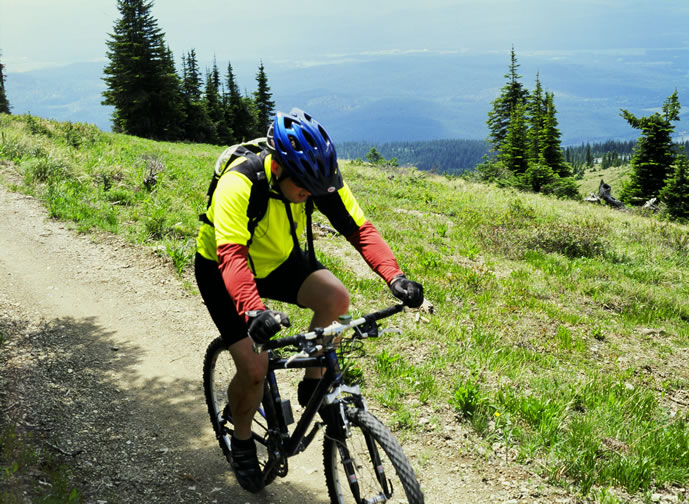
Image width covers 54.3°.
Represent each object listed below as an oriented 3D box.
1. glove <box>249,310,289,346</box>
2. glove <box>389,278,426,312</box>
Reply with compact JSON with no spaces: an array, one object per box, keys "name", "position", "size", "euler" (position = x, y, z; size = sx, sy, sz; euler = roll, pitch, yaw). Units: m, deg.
[{"name":"glove","position":[-0.976,1.013,8.854],"size":[0.500,0.242,0.385],"euler":[-28,49,-25]},{"name":"glove","position":[0.889,0.521,9.302],"size":[0.521,0.407,0.462],"euler":[14,19,27]}]
